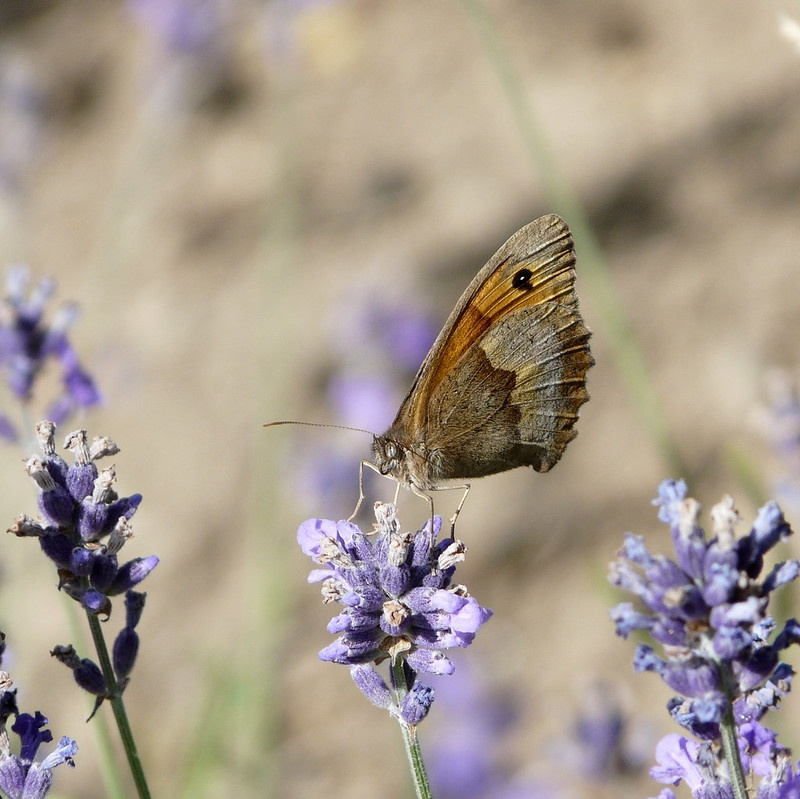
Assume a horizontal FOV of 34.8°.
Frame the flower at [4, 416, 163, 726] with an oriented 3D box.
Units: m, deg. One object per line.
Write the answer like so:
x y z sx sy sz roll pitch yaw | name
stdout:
-0.930 0.493 3.712 0.422 0.729 0.670 10 -53 -10 | flower
